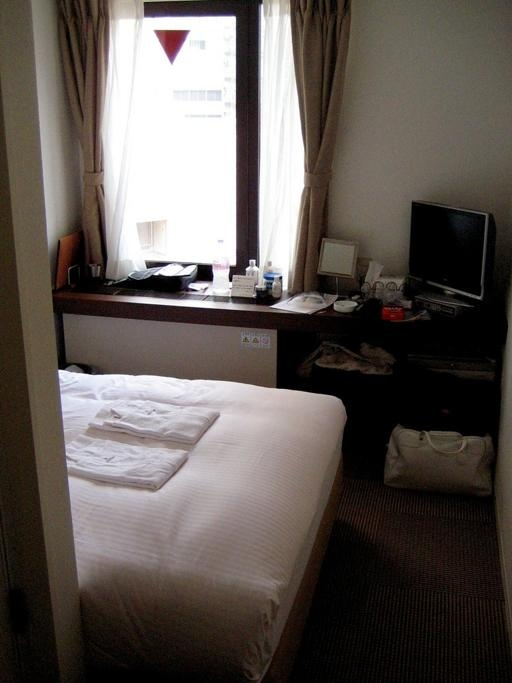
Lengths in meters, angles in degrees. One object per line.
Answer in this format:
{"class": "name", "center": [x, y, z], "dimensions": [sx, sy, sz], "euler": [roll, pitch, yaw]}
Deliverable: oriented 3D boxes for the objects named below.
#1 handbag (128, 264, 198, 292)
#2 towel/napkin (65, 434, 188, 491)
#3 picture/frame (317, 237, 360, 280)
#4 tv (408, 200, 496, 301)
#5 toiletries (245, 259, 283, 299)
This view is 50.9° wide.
{"class": "handbag", "center": [-0.624, -0.424, 3.576], "dimensions": [0.437, 0.156, 0.308], "euler": [0, 13, 4]}
{"class": "towel/napkin", "center": [-0.416, 0.383, 1.685], "dimensions": [0.257, 0.065, 0.199], "euler": [9, 19, 12]}
{"class": "picture/frame", "center": [0.510, -0.516, 3.314], "dimensions": [0.163, 0.242, 0.020], "euler": [5, 3, 7]}
{"class": "tv", "center": [1.090, -0.505, 2.943], "dimensions": [0.120, 0.428, 0.402], "euler": [-14, 22, -21]}
{"class": "toiletries", "center": [0.045, -0.413, 3.450], "dimensions": [0.250, 0.339, 0.170], "euler": [8, 14, 29]}
